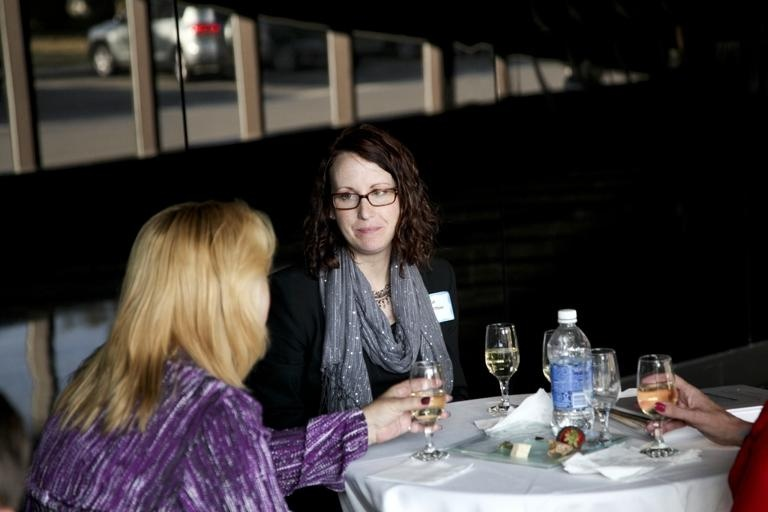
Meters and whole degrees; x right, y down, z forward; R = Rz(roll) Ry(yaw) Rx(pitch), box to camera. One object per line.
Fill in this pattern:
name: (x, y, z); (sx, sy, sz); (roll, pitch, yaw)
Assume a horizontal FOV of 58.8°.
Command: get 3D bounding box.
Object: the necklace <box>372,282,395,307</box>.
necklace: (-0.007, 0.186, 3.234); (0.028, 0.096, 0.083); (-9, 23, 46)
